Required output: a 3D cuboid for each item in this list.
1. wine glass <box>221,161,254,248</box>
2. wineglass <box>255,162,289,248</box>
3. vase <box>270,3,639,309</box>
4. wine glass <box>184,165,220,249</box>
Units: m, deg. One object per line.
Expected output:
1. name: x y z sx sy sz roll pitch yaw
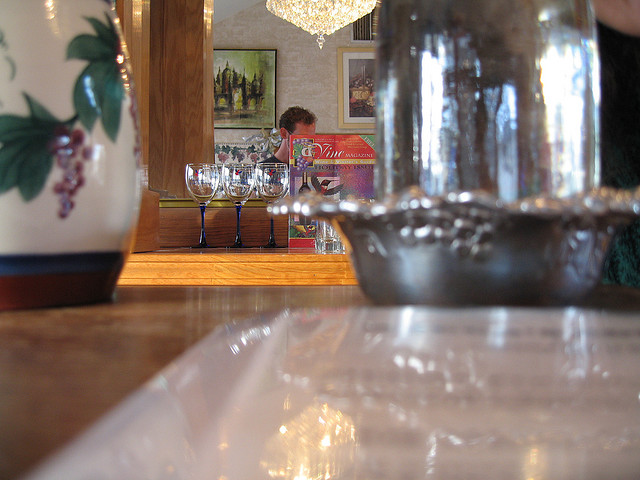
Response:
1. wine glass: -0.182 -0.076 1.126 0.071 0.183 0.090 -2 7 -7
2. wineglass: -0.107 -0.078 1.117 0.074 0.182 0.142 -2 8 -6
3. vase: 0.054 -0.039 0.279 0.148 0.176 0.167 1 -1 -3
4. wine glass: -0.250 -0.071 1.082 0.074 0.180 0.254 -3 9 -13
